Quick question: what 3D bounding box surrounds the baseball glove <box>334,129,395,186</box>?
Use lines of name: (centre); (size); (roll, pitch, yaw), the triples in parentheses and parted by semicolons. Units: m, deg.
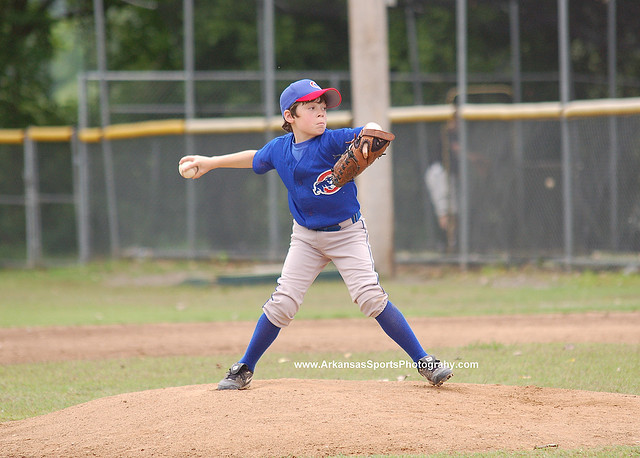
baseball glove: (0.370, -0.717, 12.594); (0.575, 0.363, 0.183); (-32, 19, -11)

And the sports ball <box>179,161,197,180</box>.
sports ball: (-1.271, -0.617, 13.123); (0.177, 0.133, 0.151); (-32, -10, -24)
